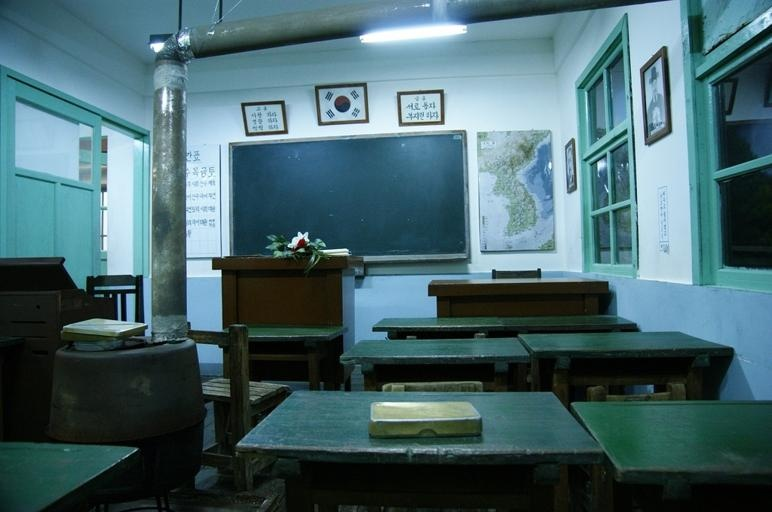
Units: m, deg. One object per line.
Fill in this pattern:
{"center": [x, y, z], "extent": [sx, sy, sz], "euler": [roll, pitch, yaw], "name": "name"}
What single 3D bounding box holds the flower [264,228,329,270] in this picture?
{"center": [-0.643, -0.028, 4.269], "extent": [0.453, 0.281, 0.241], "euler": [-1, 1, 9], "name": "flower"}
